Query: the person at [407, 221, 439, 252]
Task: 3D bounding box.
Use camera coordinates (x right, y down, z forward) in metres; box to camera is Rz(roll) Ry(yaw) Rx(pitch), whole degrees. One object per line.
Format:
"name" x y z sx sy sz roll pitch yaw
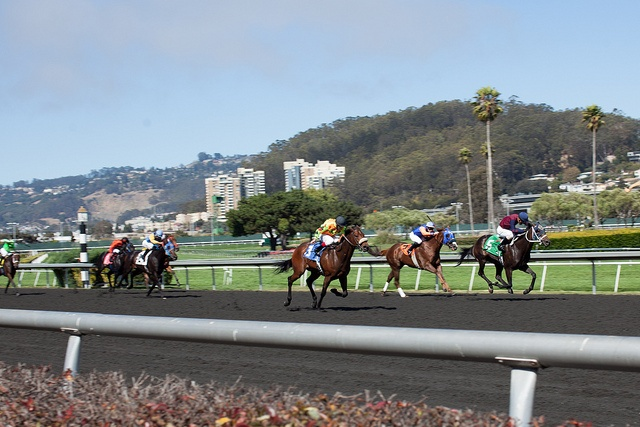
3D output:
"person" 2.208 0.463 13.290 0.563 0.588 0.707 -2 -2 8

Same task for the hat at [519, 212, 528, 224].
"hat" 4.132 0.084 12.767 0.176 0.206 0.358 -2 -2 17

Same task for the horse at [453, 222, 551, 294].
"horse" 3.950 1.000 13.191 1.008 1.539 2.266 -2 -1 -5

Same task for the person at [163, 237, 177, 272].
"person" -3.730 0.864 15.625 0.332 0.587 0.582 -2 -2 -12
